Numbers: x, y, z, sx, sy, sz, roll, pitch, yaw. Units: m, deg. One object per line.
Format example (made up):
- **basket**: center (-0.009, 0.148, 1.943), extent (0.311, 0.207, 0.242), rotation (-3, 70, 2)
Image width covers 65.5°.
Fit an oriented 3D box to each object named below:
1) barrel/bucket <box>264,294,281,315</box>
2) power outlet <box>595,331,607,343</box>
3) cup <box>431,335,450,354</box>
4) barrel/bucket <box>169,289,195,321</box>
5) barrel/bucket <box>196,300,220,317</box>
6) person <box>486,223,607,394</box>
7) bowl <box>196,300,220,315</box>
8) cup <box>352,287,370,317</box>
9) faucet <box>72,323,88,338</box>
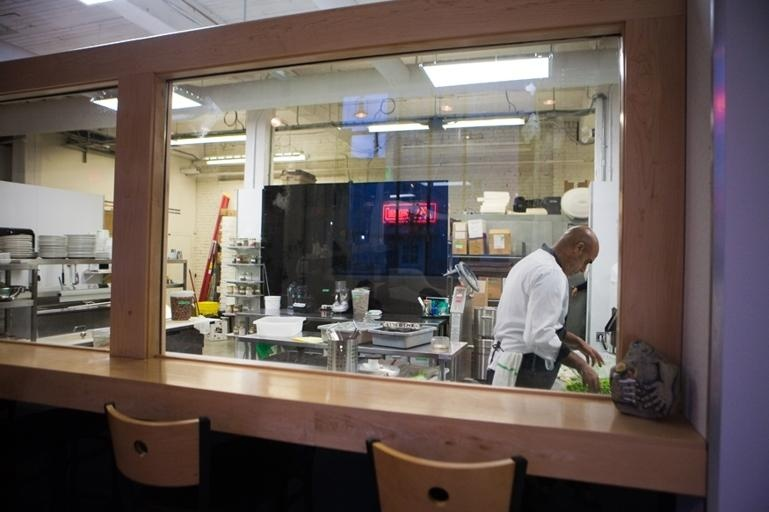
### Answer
- **barrel/bucket**: center (-1.165, 0.520, 6.213), extent (0.174, 0.181, 0.171), rotation (1, -1, 0)
- **power outlet**: center (1.069, 0.397, 2.953), extent (0.043, 0.053, 0.079), rotation (0, -1, -4)
- **cup**: center (0.328, 0.510, 3.500), extent (0.109, 0.072, 0.104), rotation (0, -2, 0)
- **barrel/bucket**: center (-1.381, 0.329, 4.157), extent (0.184, 0.189, 0.188), rotation (-1, -5, 0)
- **barrel/bucket**: center (-1.613, 0.437, 5.492), extent (0.214, 0.201, 0.210), rotation (1, 0, 0)
- **person**: center (0.820, 0.284, 3.070), extent (0.553, 0.792, 0.620), rotation (3, 13, 10)
- **bowl**: center (-1.625, 0.481, 5.501), extent (0.192, 0.183, 0.189), rotation (0, -2, 0)
- **cup**: center (-0.225, 0.435, 5.501), extent (0.213, 0.317, 0.210), rotation (0, 1, 0)
- **faucet**: center (-2.098, 0.515, 4.116), extent (0.106, 0.096, 0.102), rotation (2, -4, -15)
